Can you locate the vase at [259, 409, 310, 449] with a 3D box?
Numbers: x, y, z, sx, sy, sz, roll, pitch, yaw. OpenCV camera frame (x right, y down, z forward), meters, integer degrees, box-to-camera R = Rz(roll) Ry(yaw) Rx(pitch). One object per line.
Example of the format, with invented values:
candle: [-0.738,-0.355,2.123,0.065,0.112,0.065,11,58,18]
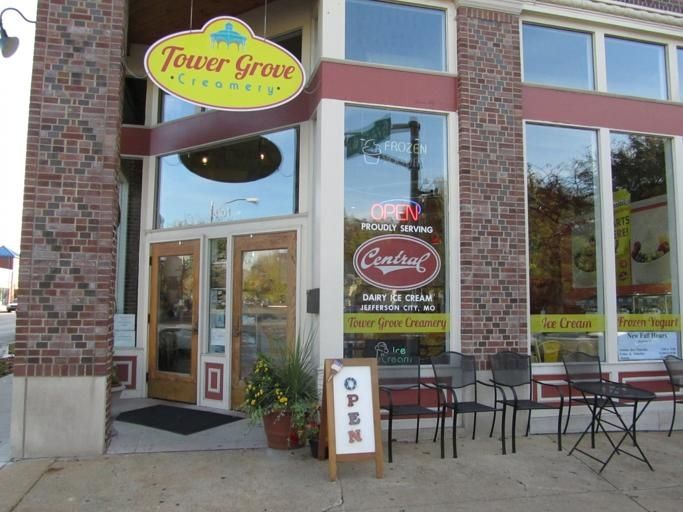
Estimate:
vase: [-0.697,2.088,7.154,0.475,0.367,0.490,0,-13,0]

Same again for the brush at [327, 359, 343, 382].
brush: [-0.056,1.245,6.590,0.146,0.214,0.051,1,-5,-10]

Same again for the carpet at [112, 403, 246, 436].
carpet: [-2.308,2.249,8.301,1.609,0.193,1.056,-3,-7,25]

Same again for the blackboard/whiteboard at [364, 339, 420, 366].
blackboard/whiteboard: [0.698,1.259,7.949,0.642,0.353,0.135,-1,-3,-7]
